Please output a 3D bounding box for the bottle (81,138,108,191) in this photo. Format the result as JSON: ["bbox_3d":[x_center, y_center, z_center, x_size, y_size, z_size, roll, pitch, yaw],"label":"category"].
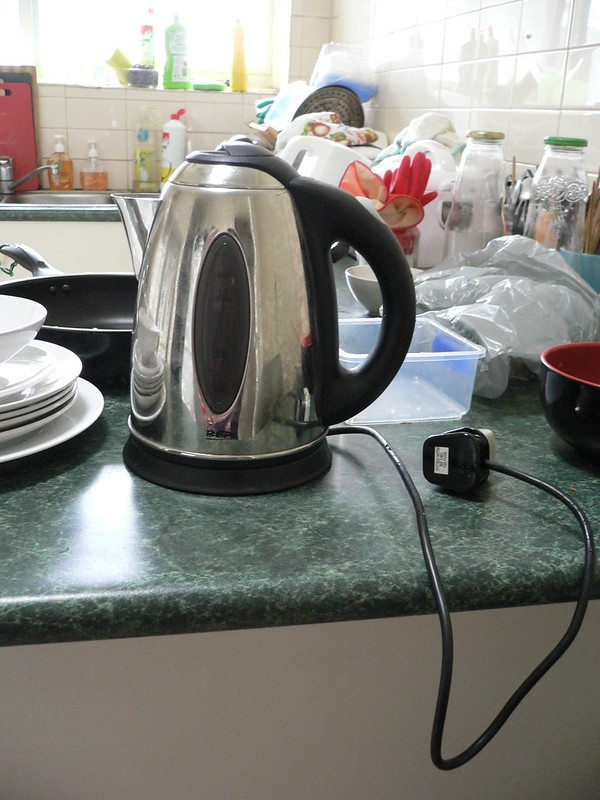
[{"bbox_3d":[-0.926,-1.053,2.780,0.114,0.205,0.133,23,32,38],"label":"bottle"}]

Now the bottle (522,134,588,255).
[{"bbox_3d":[0.363,-0.287,0.872,0.100,0.179,0.097,-4,43,4],"label":"bottle"}]

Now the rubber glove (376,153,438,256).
[{"bbox_3d":[0.159,-0.302,0.970,0.119,0.150,0.082,8,21,-2],"label":"rubber glove"}]

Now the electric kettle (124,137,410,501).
[{"bbox_3d":[-0.027,-0.045,0.390,0.189,0.215,0.089,0,25,-3],"label":"electric kettle"}]

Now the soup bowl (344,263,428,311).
[{"bbox_3d":[0.119,-0.163,0.862,0.094,0.065,0.090,4,31,-2],"label":"soup bowl"}]

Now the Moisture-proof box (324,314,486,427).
[{"bbox_3d":[0.105,-0.041,0.623,0.108,0.055,0.135,-1,14,-6],"label":"Moisture-proof box"}]
